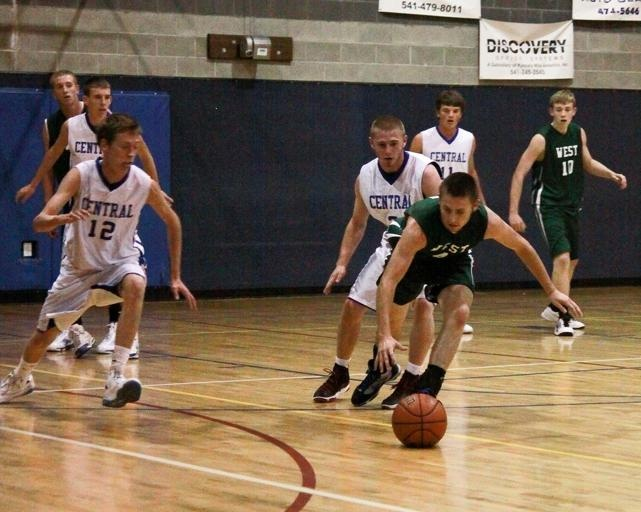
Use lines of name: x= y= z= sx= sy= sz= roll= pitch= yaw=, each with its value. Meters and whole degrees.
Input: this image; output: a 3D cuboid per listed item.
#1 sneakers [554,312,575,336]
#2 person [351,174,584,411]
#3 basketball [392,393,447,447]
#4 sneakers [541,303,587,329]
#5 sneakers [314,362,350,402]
sneakers: x=2.335 y=0.663 z=6.882 sx=0.177 sy=0.257 sz=0.506 roll=0 pitch=-7 yaw=5
person: x=0.524 y=0.220 z=3.625 sx=1.001 sy=1.374 sz=0.823 roll=-10 pitch=16 yaw=-33
basketball: x=0.424 y=0.711 z=3.033 sx=0.187 sy=0.228 sz=0.204 roll=0 pitch=-1 yaw=3
sneakers: x=2.473 y=0.614 z=7.321 sx=0.192 sy=0.292 sz=0.574 roll=-1 pitch=0 yaw=-16
sneakers: x=0.085 y=0.726 z=4.020 sx=0.105 sy=0.228 sz=0.294 roll=-1 pitch=-2 yaw=37
